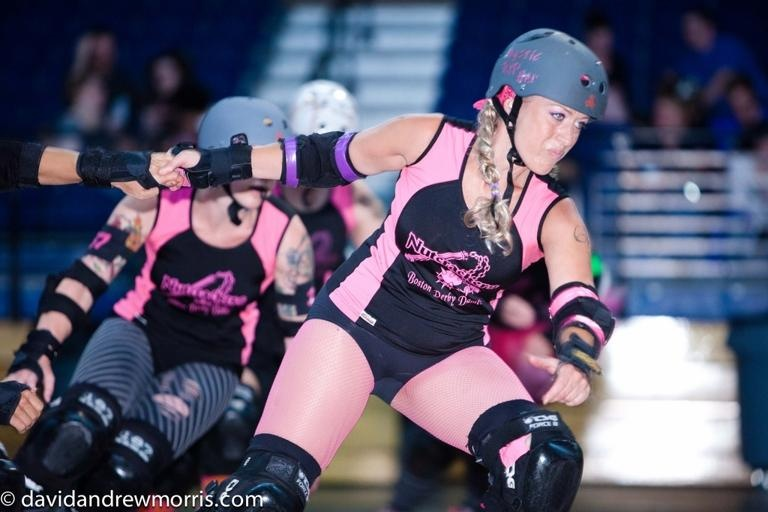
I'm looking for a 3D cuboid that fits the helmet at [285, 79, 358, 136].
[{"bbox_3d":[-0.545,-1.342,9.284,0.633,0.473,0.572,10,14,-6],"label":"helmet"}]

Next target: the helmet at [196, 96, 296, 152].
[{"bbox_3d":[-1.075,-0.916,7.873,0.563,0.488,0.551,5,1,0],"label":"helmet"}]
